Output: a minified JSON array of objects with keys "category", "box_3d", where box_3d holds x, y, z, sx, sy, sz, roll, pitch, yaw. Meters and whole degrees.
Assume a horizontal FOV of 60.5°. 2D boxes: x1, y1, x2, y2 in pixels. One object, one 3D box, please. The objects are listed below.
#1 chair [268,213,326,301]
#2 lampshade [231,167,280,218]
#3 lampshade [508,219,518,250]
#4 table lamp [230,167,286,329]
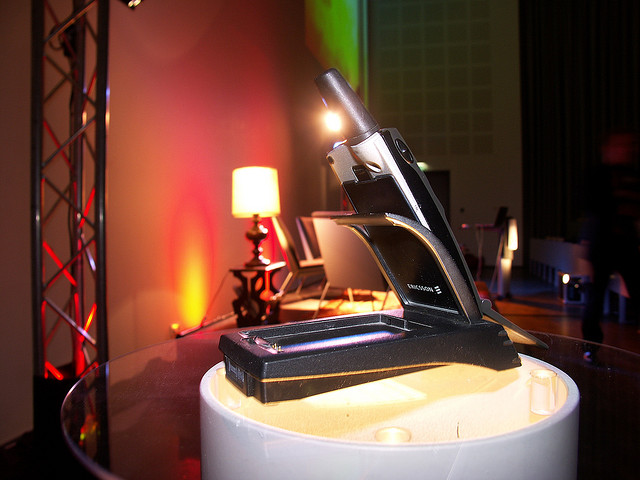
[{"category":"chair","box_3d":[-0.162,0.114,4.530,0.383,0.632,0.350,-9,16,-20]},{"category":"lampshade","box_3d":[-0.442,-0.320,3.717,0.308,0.348,0.220,-7,10,-1]},{"category":"lampshade","box_3d":[1.832,-0.053,5.243,0.082,0.288,0.208,-3,10,17]},{"category":"table lamp","box_3d":[-0.447,0.068,3.881,0.369,1.123,0.411,-2,1,-7]}]
